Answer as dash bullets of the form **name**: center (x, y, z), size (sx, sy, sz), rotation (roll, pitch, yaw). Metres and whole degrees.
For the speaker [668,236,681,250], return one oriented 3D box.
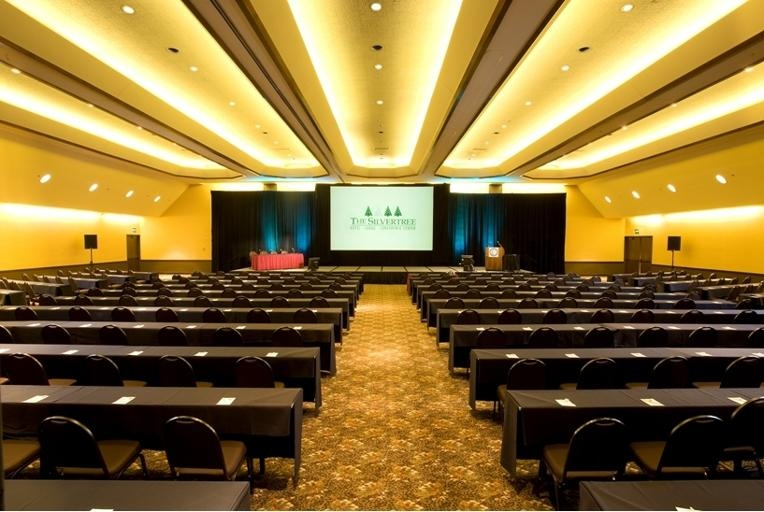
- **speaker**: center (10.993, -0.474, 18.717), size (0.542, 0.502, 0.273), rotation (1, -2, 0)

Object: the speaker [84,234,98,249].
- **speaker**: center (-11.068, -0.544, 18.894), size (0.582, 0.571, 0.565), rotation (-1, 7, -14)
